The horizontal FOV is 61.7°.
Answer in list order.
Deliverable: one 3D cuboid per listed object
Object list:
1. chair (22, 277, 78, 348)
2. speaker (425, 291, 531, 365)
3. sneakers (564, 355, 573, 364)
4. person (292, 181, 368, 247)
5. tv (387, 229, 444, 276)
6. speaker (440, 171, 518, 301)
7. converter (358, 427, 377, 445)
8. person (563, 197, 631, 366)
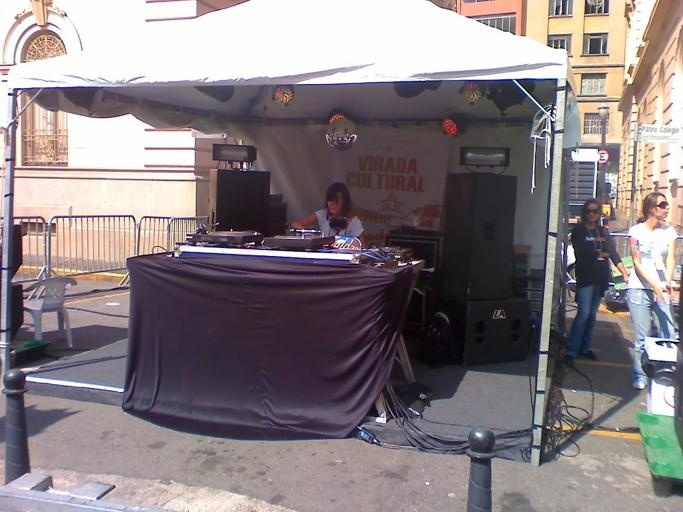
[{"bbox_3d":[-4.011,0.711,7.836,0.661,0.979,0.664,0,6,-33],"label":"chair"},{"bbox_3d":[1.683,0.963,7.184,0.915,0.673,0.974,0,2,2],"label":"speaker"},{"bbox_3d":[2.979,1.361,7.530,0.115,0.101,0.171,4,9,8],"label":"sneakers"},{"bbox_3d":[-0.013,-0.656,7.944,0.580,0.747,0.789,1,13,-2],"label":"person"},{"bbox_3d":[1.114,-0.082,8.533,0.911,0.575,0.687,5,2,14],"label":"tv"},{"bbox_3d":[1.722,-0.263,7.271,0.906,1.580,0.718,4,13,14],"label":"speaker"},{"bbox_3d":[0.242,1.683,5.347,0.143,0.058,0.111,25,2,3],"label":"converter"},{"bbox_3d":[3.298,0.298,7.693,0.838,2.101,0.582,-3,13,-17],"label":"person"}]
